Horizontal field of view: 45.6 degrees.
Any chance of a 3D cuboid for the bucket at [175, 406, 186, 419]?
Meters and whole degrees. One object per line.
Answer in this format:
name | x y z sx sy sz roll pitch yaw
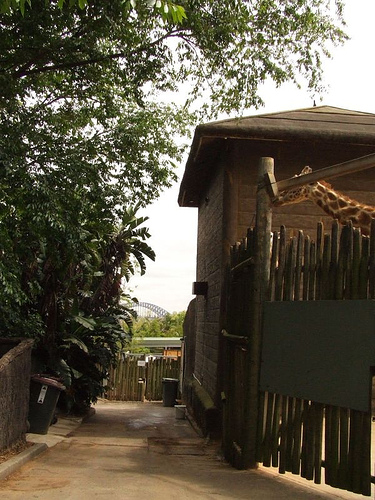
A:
bucket | -0.180 3.988 10.913 0.274 0.217 0.280 6 -14 1
